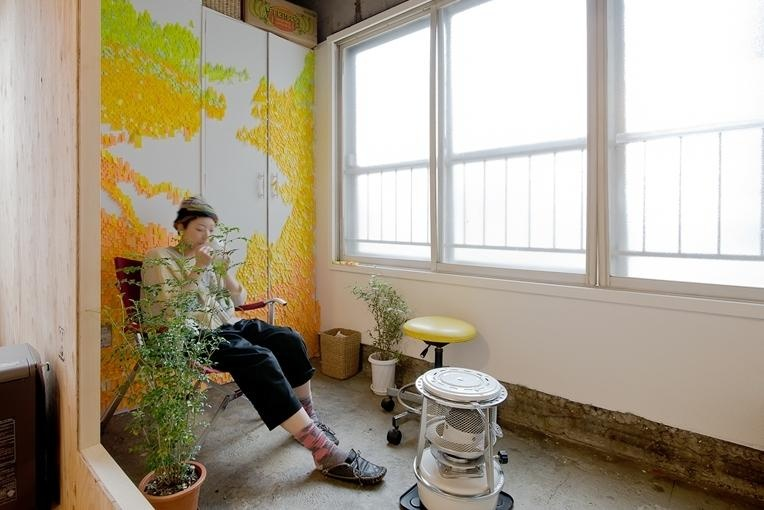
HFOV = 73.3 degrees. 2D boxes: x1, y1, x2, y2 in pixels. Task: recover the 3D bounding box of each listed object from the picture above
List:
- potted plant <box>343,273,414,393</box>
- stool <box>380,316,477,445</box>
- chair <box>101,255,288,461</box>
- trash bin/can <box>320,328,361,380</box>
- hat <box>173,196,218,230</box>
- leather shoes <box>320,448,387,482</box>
[{"bbox_3d":[0.006,0.698,4.799,0.832,1.298,0.790,0,3,-3],"label":"potted plant"},{"bbox_3d":[0.396,0.940,3.903,0.690,0.747,0.756,11,-3,-20],"label":"stool"},{"bbox_3d":[-1.436,0.589,4.196,1.287,1.724,1.278,3,3,29],"label":"chair"},{"bbox_3d":[-0.376,0.908,4.730,0.340,0.379,0.340,2,6,15],"label":"trash bin/can"},{"bbox_3d":[-1.285,-0.296,3.612,0.213,0.226,0.255,7,-9,-22],"label":"hat"},{"bbox_3d":[-0.154,1.352,3.324,0.355,0.162,0.182,3,2,-1],"label":"leather shoes"}]
